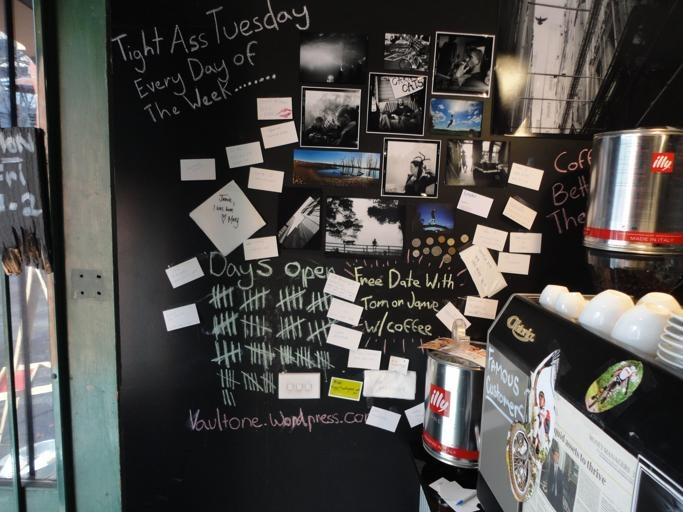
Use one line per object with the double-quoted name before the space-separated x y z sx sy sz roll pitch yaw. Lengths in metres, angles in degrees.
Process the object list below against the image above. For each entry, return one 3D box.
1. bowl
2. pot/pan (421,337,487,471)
"bowl" 0.761 0.143 1.468 0.166 0.113 0.299 25 -3 -22
"pot/pan" 0.493 0.598 2.052 0.306 0.369 0.315 6 -2 -11
